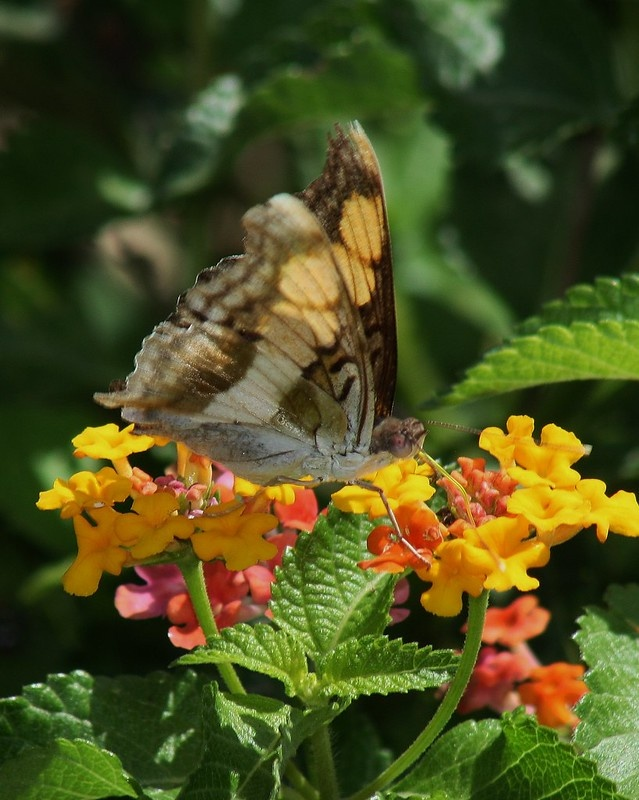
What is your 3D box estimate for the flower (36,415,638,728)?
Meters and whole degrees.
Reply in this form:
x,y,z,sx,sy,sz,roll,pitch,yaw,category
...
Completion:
x,y,z,sx,sy,sz,roll,pitch,yaw,category
0.015,0.225,1.619,0.968,0.282,0.732,-6,15,-18,flower
